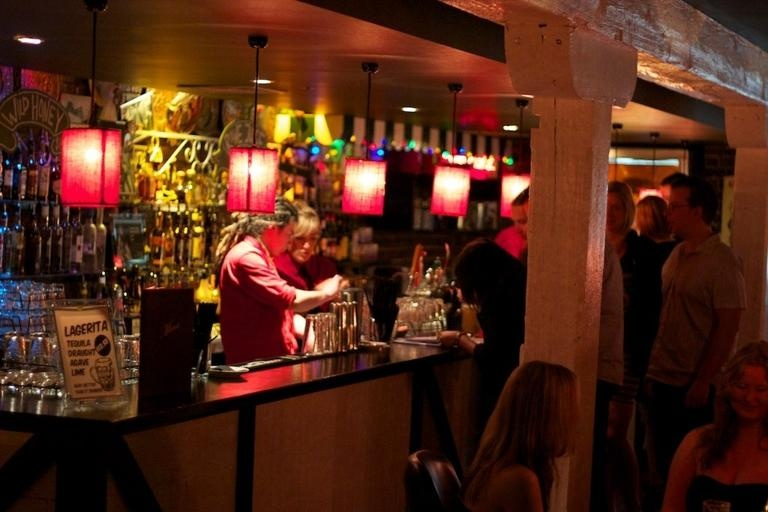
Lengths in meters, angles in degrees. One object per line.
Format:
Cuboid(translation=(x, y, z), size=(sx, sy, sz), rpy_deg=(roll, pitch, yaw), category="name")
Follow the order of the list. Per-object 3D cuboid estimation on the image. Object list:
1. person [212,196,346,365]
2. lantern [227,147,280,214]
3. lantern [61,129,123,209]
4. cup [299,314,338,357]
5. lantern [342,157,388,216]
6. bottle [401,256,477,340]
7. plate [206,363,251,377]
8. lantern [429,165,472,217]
Cuboid(translation=(-0.756, 0.174, 5.250), size=(0.737, 1.133, 0.510), rpy_deg=(0, 2, -12), category="person")
Cuboid(translation=(-1.015, -0.553, 5.715), size=(0.447, 0.469, 0.446), rpy_deg=(3, 2, 23), category="lantern")
Cuboid(translation=(-1.851, -0.570, 4.852), size=(0.411, 0.453, 0.397), rpy_deg=(2, 7, -10), category="lantern")
Cuboid(translation=(-0.390, 0.502, 4.986), size=(0.237, 0.314, 0.234), rpy_deg=(1, -6, 0), category="cup")
Cuboid(translation=(-0.125, -0.588, 6.505), size=(0.493, 0.474, 0.481), rpy_deg=(3, 4, -36), category="lantern")
Cuboid(translation=(0.422, 0.407, 6.034), size=(0.446, 0.428, 0.451), rpy_deg=(0, -2, 18), category="bottle")
Cuboid(translation=(-0.876, 0.644, 4.345), size=(0.186, 0.057, 0.265), rpy_deg=(1, 2, 5), category="plate")
Cuboid(translation=(0.653, -0.592, 7.057), size=(0.411, 0.470, 0.418), rpy_deg=(4, -3, 23), category="lantern")
